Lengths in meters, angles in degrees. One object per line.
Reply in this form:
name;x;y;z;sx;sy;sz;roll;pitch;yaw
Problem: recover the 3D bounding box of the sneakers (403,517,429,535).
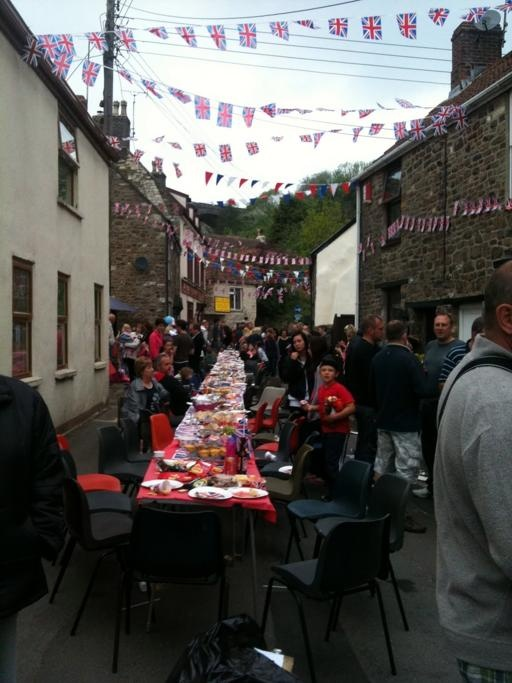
sneakers;1.303;1.519;4.823;0.077;0.088;0.225;-3;-6;-9
